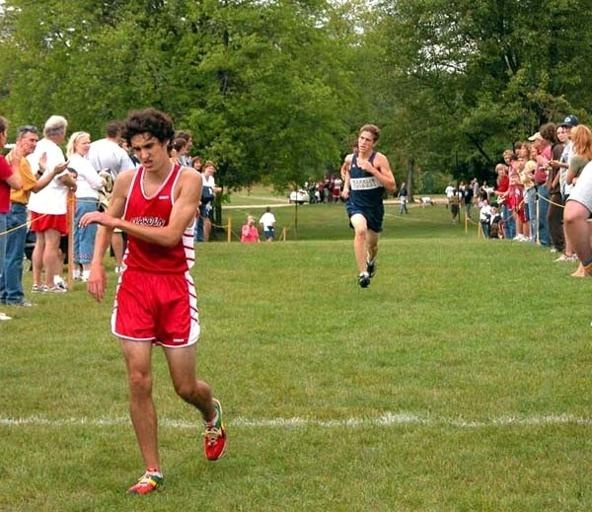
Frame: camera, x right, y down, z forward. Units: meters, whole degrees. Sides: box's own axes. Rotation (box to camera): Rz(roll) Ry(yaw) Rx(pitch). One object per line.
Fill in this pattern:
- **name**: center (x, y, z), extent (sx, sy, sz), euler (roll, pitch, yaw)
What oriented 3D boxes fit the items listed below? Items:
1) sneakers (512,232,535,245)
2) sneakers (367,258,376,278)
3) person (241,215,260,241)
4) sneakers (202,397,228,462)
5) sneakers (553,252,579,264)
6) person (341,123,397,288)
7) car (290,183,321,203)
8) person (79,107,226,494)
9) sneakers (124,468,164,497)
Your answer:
- **sneakers**: center (5.044, -0.375, 22.295), extent (0.224, 0.265, 0.659), euler (0, -4, 9)
- **sneakers**: center (1.146, 0.190, 15.282), extent (0.109, 0.299, 0.135), euler (-2, 18, -4)
- **person**: center (-1.333, -0.781, 29.231), extent (0.432, 0.709, 1.364), euler (-1, 1, -5)
- **sneakers**: center (-0.690, 1.498, 8.741), extent (0.178, 0.529, 0.209), euler (-2, -3, 1)
- **sneakers**: center (4.535, 0.033, 17.066), extent (0.470, 0.191, 0.161), euler (2, 2, 16)
- **person**: center (1.054, -0.725, 14.825), extent (0.731, 2.082, 1.580), euler (-1, 0, 2)
- **car**: center (0.842, -4.794, 73.328), extent (2.018, 1.013, 2.845), euler (0, 0, 0)
- **person**: center (-1.171, 0.340, 8.404), extent (1.106, 2.990, 0.555), euler (-1, 0, -10)
- **sneakers**: center (-1.244, 1.830, 8.178), extent (0.136, 0.118, 0.266), euler (16, 24, 40)
